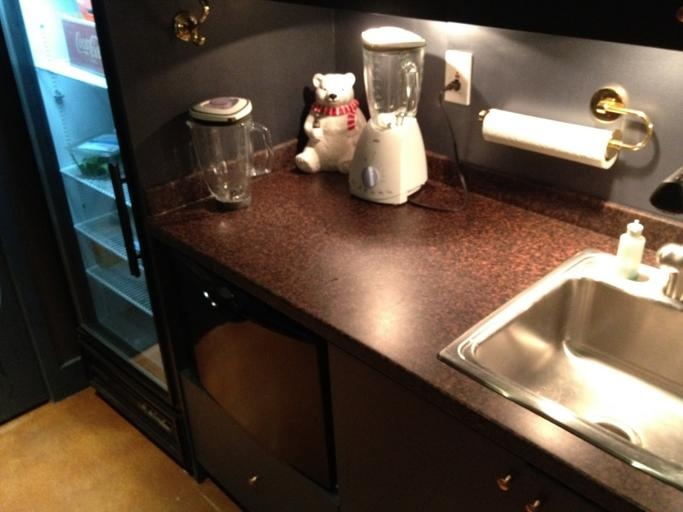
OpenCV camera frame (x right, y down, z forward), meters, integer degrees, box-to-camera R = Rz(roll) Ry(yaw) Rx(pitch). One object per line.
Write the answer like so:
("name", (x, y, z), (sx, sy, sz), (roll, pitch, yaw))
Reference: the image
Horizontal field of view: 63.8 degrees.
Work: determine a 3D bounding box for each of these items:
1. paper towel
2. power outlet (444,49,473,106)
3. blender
("paper towel", (0.558, -0.316, 1.538), (0.465, 0.139, 0.130), (21, 27, 28))
("power outlet", (0.355, -0.547, 1.660), (0.111, 0.202, 0.019), (23, 40, 37))
("blender", (0.151, -0.444, 1.712), (0.258, 0.506, 0.230), (-25, 38, -33))
